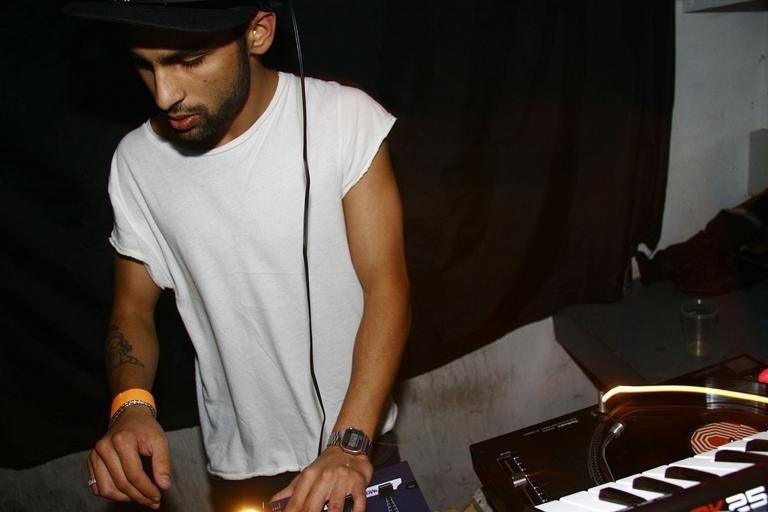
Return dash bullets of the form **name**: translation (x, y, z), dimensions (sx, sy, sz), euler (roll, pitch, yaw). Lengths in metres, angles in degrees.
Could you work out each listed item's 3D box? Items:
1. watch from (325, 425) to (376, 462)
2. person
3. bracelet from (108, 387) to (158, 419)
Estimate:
- **watch**: translation (-0.089, 0.494, 1.696), dimensions (0.105, 0.065, 0.094), euler (6, -17, 2)
- **person**: translation (-0.406, 0.080, 1.843), dimensions (0.948, 1.486, 0.661), euler (-6, 18, 4)
- **bracelet**: translation (-0.725, 0.415, 1.831), dimensions (0.117, 0.128, 0.081), euler (3, 13, -25)
